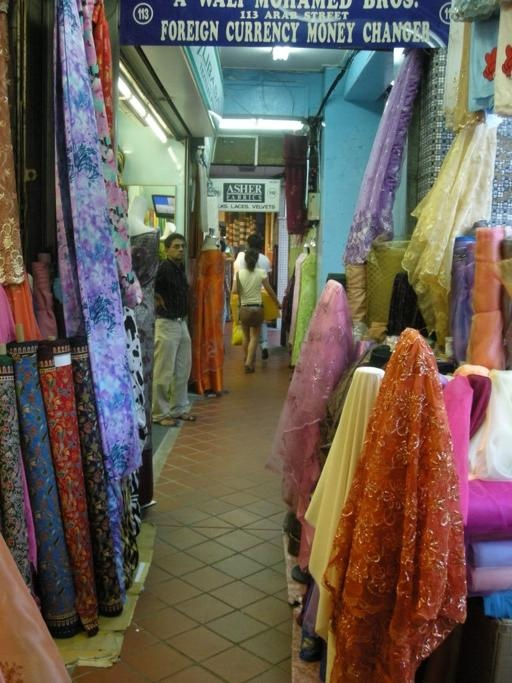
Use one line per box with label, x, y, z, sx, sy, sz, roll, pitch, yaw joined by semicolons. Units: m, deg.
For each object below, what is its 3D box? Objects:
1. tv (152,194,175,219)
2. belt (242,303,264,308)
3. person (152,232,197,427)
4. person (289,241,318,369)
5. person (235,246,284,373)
tv;-1.049;-1.528;5.804;0.194;0.254;0.031;0;6;-17
belt;-0.064;-0.526;7.444;0.297;0.059;0.084;0;5;-13
person;-0.782;-0.117;4.868;0.380;1.793;1.055;0;4;-1
person;0.683;-0.569;7.602;0.363;1.963;1.311;1;4;5
person;-0.058;-0.589;7.878;0.520;2.018;1.170;1;4;2
